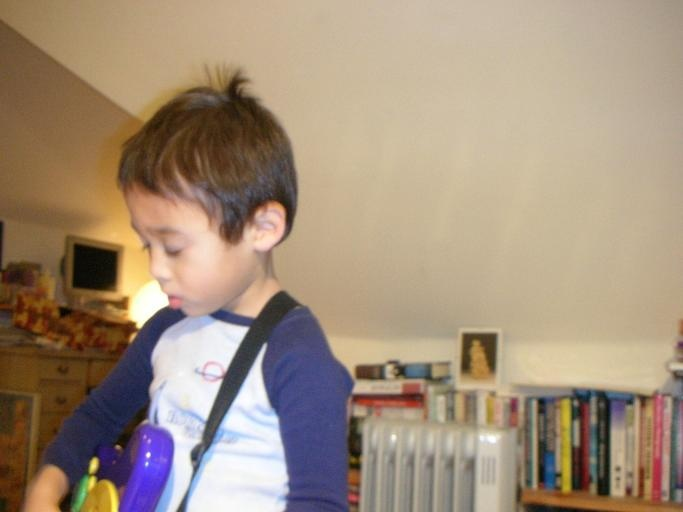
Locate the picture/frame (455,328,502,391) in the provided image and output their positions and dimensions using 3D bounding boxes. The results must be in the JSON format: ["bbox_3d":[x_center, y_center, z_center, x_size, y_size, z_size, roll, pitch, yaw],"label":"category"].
[{"bbox_3d":[0.549,0.409,2.623,0.179,0.264,0.033,-1,20,5],"label":"picture/frame"}]

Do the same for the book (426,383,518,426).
[{"bbox_3d":[0.516,0.593,2.583,0.369,0.146,0.050,-1,-13,22],"label":"book"}]

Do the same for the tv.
[{"bbox_3d":[-1.007,0.062,2.661,0.041,0.249,0.273,-8,-12,31],"label":"tv"}]
